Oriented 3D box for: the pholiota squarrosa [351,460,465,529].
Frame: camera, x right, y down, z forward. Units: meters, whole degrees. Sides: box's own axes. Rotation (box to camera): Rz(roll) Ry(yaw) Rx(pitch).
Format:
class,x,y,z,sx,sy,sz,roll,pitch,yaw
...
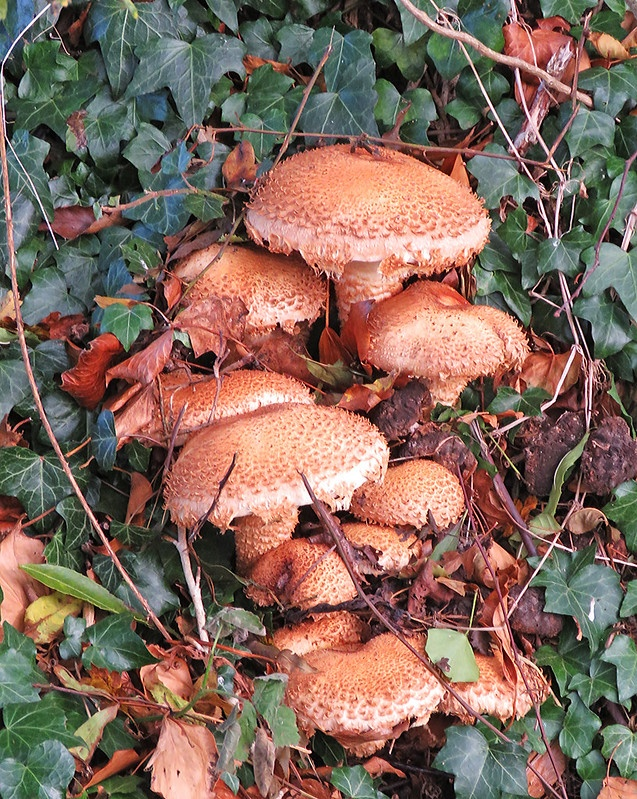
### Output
class,x,y,z,sx,sy,sz,roll,pitch,yaw
pholiota squarrosa,0.223,0.232,1.863,0.185,0.069,0.188,6,22,24
